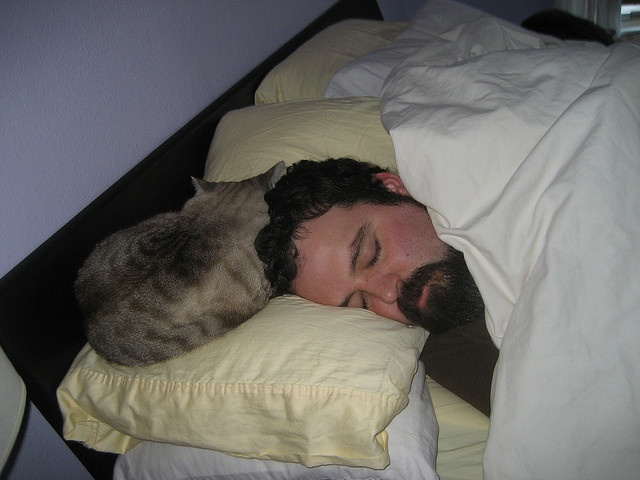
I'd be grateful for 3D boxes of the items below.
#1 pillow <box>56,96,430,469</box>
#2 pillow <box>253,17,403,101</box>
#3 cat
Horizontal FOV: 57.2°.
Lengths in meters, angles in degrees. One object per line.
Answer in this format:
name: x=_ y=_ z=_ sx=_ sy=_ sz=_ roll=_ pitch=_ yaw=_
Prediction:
pillow: x=-0.117 y=0.096 z=1.401 sx=0.740 sy=0.526 sz=0.824 roll=6 pitch=36 yaw=19
pillow: x=0.028 y=-0.597 z=1.910 sx=0.454 sy=0.115 sz=0.338 roll=-38 pitch=38 yaw=-4
cat: x=-0.296 y=0.086 z=1.391 sx=0.479 sy=0.213 sz=0.287 roll=-34 pitch=79 yaw=-19
